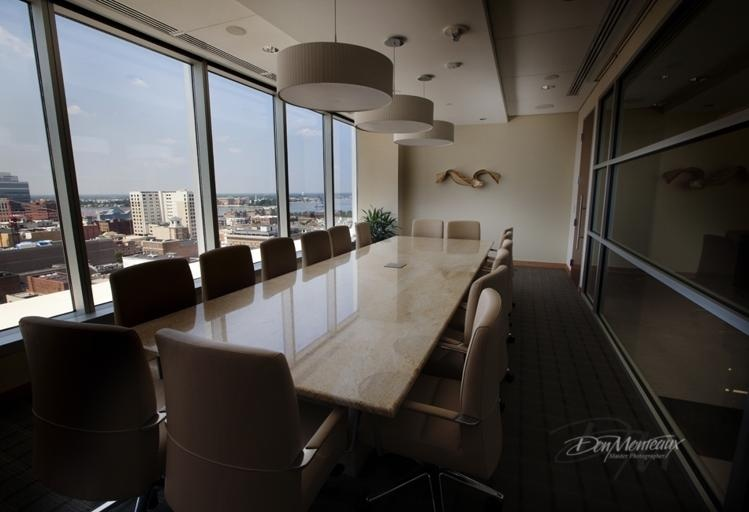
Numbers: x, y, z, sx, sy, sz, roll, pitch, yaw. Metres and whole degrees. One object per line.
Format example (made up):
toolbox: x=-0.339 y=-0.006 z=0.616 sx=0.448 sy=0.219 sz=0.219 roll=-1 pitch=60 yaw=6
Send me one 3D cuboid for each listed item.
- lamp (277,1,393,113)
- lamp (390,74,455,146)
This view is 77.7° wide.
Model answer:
lamp: x=-0.321 y=-1.467 z=3.614 sx=0.638 sy=0.746 sz=0.678 roll=1 pitch=4 yaw=-1
lamp: x=0.496 y=-1.646 z=5.802 sx=0.886 sy=0.993 sz=0.875 roll=0 pitch=2 yaw=-2
